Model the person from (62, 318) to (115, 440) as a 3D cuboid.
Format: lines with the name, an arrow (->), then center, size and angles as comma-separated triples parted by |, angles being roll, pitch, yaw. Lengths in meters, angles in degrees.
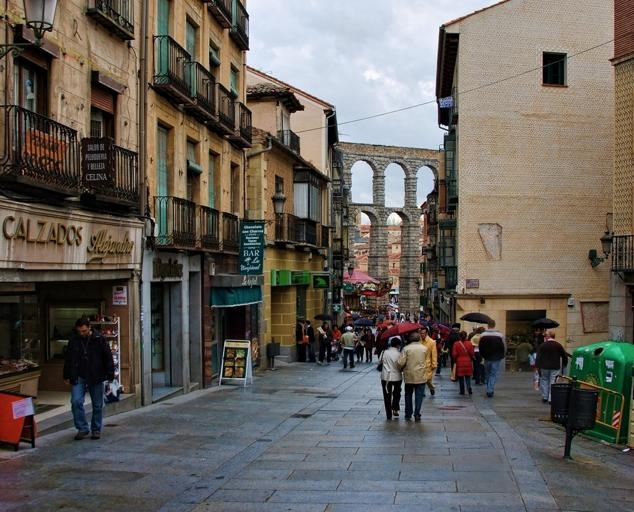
person -> -4.015, 2.159, 14.803 | 0.829, 2.126, 0.440 | 1, 0, -18

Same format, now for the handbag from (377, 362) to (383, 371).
handbag -> 1.345, 2.361, 17.756 | 0.145, 0.284, 0.150 | 0, -4, 5

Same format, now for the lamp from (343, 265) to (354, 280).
lamp -> 2.291, 1.219, 58.453 | 0.796, 1.070, 0.835 | 7, -8, -40

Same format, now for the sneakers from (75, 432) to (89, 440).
sneakers -> -4.118, 3.174, 14.732 | 0.091, 0.119, 0.257 | -1, -11, 12

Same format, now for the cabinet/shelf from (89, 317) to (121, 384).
cabinet/shelf -> -4.458, 2.039, 17.802 | 0.490, 1.399, 0.693 | -8, 4, 34

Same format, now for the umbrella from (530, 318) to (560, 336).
umbrella -> 7.266, 2.279, 26.859 | 0.755, 0.685, 0.802 | 0, -16, 8
